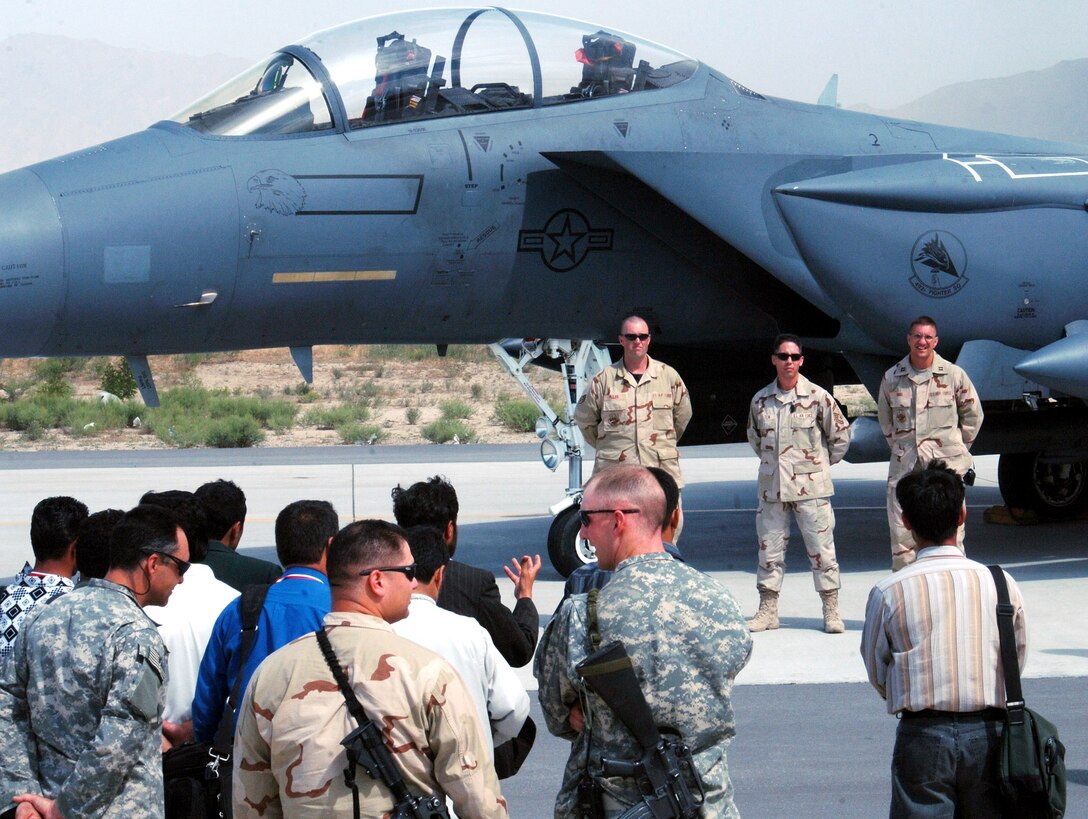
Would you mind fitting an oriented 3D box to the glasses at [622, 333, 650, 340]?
[{"bbox_3d":[0.660,-0.523,10.718,0.192,0.081,0.144,-2,4,-1],"label":"glasses"}]

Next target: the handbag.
[{"bbox_3d":[2.112,1.167,6.507,0.286,0.977,0.268,-2,5,12],"label":"handbag"}]

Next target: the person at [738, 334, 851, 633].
[{"bbox_3d":[1.808,0.520,10.601,0.724,2.066,0.468,-2,5,9],"label":"person"}]

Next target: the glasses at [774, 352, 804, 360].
[{"bbox_3d":[1.738,-0.371,10.472,0.199,0.066,0.119,-3,4,-16],"label":"glasses"}]
